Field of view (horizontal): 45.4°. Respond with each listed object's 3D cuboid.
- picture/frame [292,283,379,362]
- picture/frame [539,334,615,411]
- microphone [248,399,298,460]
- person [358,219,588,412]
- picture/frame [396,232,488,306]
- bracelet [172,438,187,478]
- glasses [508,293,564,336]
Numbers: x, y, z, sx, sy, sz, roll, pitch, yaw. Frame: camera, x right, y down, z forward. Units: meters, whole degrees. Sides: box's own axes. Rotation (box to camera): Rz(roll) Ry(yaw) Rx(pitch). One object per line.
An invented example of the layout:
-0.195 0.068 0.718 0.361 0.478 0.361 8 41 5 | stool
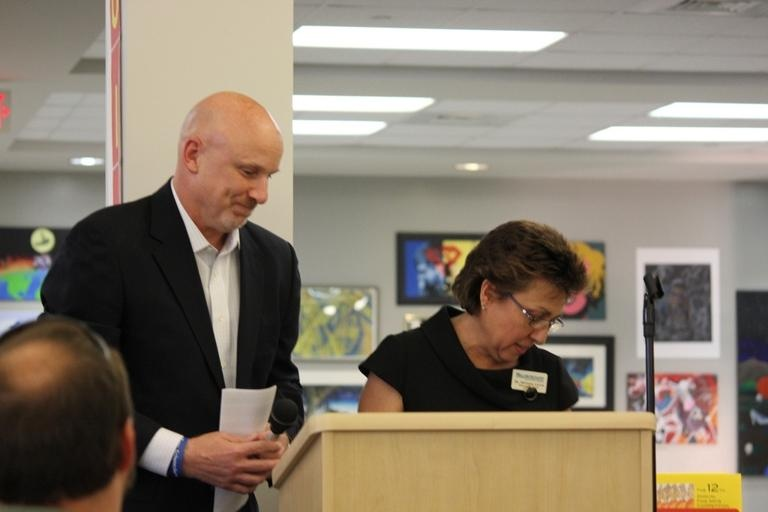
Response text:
-0.506 0.698 9.272 0.759 0.611 0.030 0 -3 1 | picture/frame
2.041 1.297 10.287 1.008 1.126 0.059 2 39 16 | picture/frame
-0.433 0.663 3.525 0.079 0.080 0.246 1 -40 -44 | microphone
0.383 0.245 3.827 0.892 0.787 0.272 1 -2 3 | person
0.439 0.120 8.220 0.720 0.563 0.079 0 -13 -6 | picture/frame
-0.811 0.794 3.619 0.075 0.117 0.094 5 2 -15 | bracelet
0.616 0.208 3.740 0.056 0.179 0.171 -44 -22 19 | glasses
